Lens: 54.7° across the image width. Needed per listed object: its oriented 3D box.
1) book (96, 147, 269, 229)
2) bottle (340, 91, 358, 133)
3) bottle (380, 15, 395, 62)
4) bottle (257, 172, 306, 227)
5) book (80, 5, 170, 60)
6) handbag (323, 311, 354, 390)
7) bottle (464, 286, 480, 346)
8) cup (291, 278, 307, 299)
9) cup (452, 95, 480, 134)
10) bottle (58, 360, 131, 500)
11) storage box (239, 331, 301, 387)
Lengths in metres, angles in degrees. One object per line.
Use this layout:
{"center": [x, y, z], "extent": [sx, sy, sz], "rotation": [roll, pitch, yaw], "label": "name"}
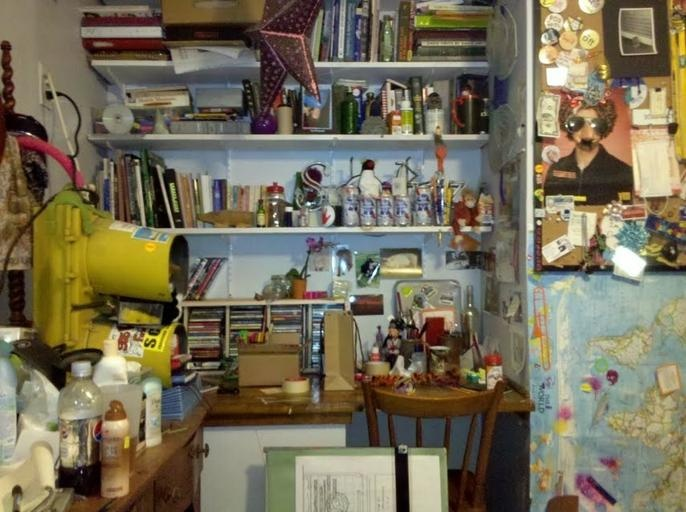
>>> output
{"center": [-0.825, -0.342, 3.425], "extent": [0.840, 0.415, 0.284], "rotation": [-3, 4, 1], "label": "book"}
{"center": [0.041, -0.743, 3.410], "extent": [0.098, 0.217, 0.073], "rotation": [-7, 5, -44], "label": "bottle"}
{"center": [0.235, -1.109, 3.370], "extent": [0.098, 0.232, 0.051], "rotation": [-7, 5, -42], "label": "bottle"}
{"center": [-0.314, -0.280, 3.364], "extent": [0.306, 0.329, 0.180], "rotation": [7, -10, -44], "label": "bottle"}
{"center": [-1.090, -1.112, 3.357], "extent": [0.374, 0.284, 0.147], "rotation": [-3, 9, -2], "label": "book"}
{"center": [-0.021, 0.447, 3.184], "extent": [0.150, 0.362, 0.161], "rotation": [-3, 4, 1], "label": "handbag"}
{"center": [0.671, 0.324, 3.494], "extent": [0.096, 0.352, 0.097], "rotation": [-4, 15, 1], "label": "bottle"}
{"center": [-0.231, 0.169, 3.465], "extent": [0.090, 0.103, 0.093], "rotation": [2, 1, 0], "label": "cup"}
{"center": [0.629, -0.727, 3.420], "extent": [0.192, 0.207, 0.121], "rotation": [1, -2, -36], "label": "cup"}
{"center": [-0.835, 0.553, 2.105], "extent": [0.148, 0.424, 0.067], "rotation": [-5, 4, -25], "label": "bottle"}
{"center": [-0.358, 0.508, 3.297], "extent": [0.229, 0.209, 0.242], "rotation": [1, -3, -2], "label": "storage box"}
